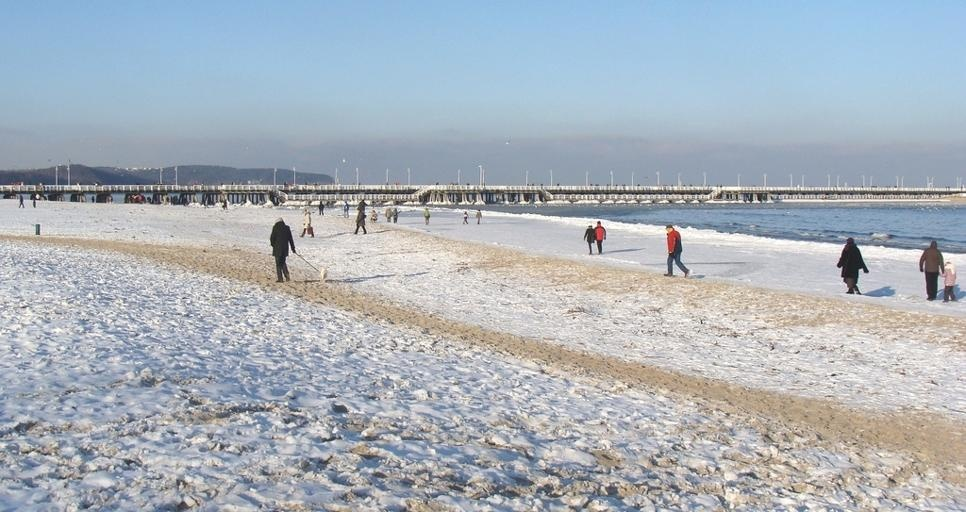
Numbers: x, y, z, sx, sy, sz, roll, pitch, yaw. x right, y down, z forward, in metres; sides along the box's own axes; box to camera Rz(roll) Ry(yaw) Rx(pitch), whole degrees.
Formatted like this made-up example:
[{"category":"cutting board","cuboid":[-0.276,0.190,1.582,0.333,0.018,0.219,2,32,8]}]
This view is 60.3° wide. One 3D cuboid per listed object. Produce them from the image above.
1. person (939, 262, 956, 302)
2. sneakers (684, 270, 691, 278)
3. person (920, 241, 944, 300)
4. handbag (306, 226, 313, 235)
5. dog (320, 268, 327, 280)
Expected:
[{"category":"person","cuboid":[14.589,0.792,26.150,0.394,1.231,0.669,4,8,28]},{"category":"sneakers","cuboid":[7.319,0.690,30.011,0.197,0.317,0.188,3,53,7]},{"category":"person","cuboid":[14.335,0.418,26.740,0.666,1.830,1.570,4,8,28]},{"category":"handbag","cuboid":[-8.879,-1.290,42.408,0.527,0.426,0.452,2,17,-2]},{"category":"dog","cuboid":[-5.292,0.595,27.615,0.139,0.397,0.286,0,4,-41]}]
